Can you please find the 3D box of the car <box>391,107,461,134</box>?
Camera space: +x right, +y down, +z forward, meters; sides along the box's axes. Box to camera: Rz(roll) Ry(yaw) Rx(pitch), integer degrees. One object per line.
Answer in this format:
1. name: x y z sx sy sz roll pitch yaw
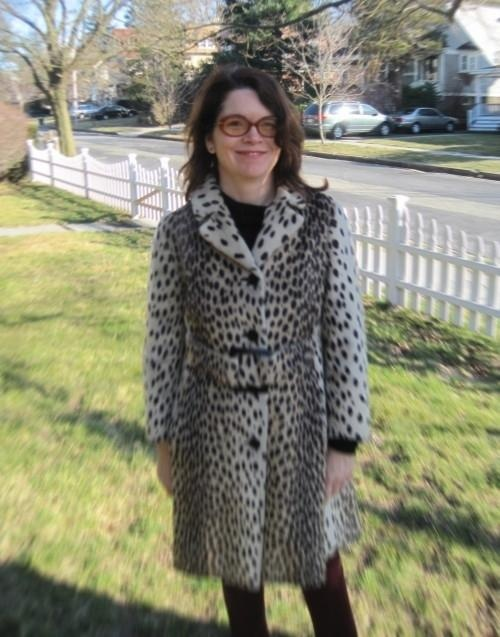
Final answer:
1. car: 11.845 -13.646 29.286 4.483 1.709 0.754 -8 14 -12
